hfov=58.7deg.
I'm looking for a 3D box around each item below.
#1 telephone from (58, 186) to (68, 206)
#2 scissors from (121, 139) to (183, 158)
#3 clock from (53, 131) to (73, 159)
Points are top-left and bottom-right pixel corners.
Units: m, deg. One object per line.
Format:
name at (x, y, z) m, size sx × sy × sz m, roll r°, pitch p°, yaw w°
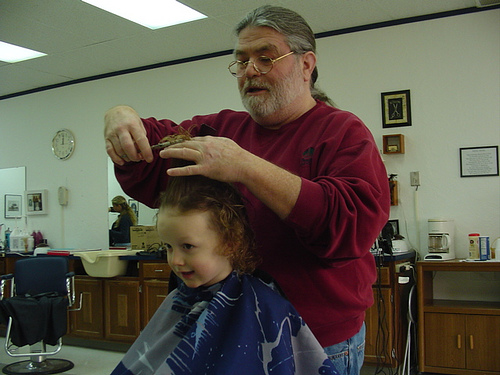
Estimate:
telephone at (-2.751, 0.127, 6.447) m, size 0.163 × 0.272 × 0.051 m, roll -4°, pitch -4°, yaw 24°
scissors at (-0.351, -0.137, 1.620) m, size 0.030 × 0.031 × 0.214 m, roll -38°, pitch 19°, yaw -35°
clock at (-2.779, -0.629, 6.502) m, size 0.034 × 0.439 × 0.430 m, roll 10°, pitch 14°, yaw 20°
